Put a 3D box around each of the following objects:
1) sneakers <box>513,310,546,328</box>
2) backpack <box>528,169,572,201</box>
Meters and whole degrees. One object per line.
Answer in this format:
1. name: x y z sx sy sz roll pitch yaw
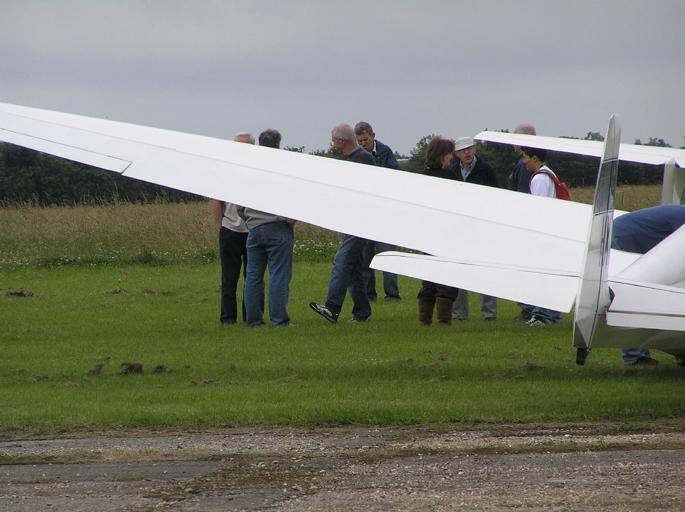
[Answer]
1. sneakers: 2.492 0.845 21.099 0.226 0.082 0.235 20 -3 28
2. backpack: 2.629 -0.906 20.826 0.512 0.480 0.354 -16 16 8
